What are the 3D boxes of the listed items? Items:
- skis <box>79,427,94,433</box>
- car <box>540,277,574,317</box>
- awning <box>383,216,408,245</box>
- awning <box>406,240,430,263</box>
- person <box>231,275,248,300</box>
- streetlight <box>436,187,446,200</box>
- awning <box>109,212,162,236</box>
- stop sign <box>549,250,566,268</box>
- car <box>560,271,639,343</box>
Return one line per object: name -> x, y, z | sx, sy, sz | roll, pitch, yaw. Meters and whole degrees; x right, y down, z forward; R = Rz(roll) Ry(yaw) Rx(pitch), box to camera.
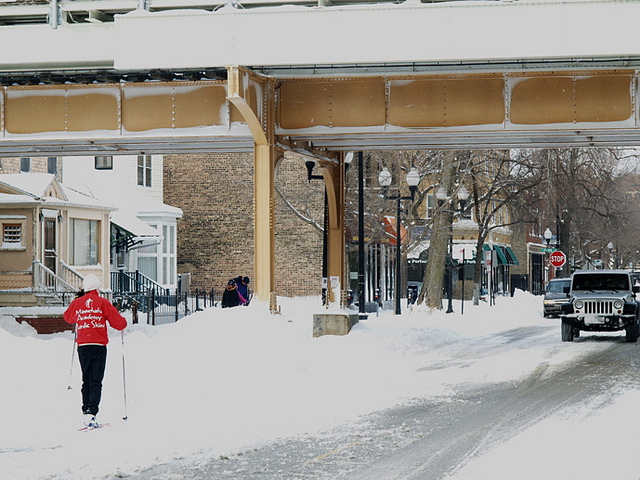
skis -> -4.743, 3.919, 28.383 | 0.326, 0.105, 0.061 | 6, -9, 40
car -> 8.465, 1.994, 47.618 | 1.137, 1.326, 2.665 | -1, 1, 14
awning -> 3.145, -0.490, 58.746 | 0.520, 1.444, 0.826 | -17, -15, 28
awning -> 5.210, 0.456, 71.977 | 1.347, 0.984, 1.327 | 0, -2, 9
person -> -2.253, 1.402, 39.407 | 0.517, 0.797, 0.292 | -7, 12, -37
streetlight -> 4.175, -1.556, 46.840 | 0.319, 0.486, 0.336 | -1, 5, 5
awning -> -6.829, -0.583, 51.363 | 1.735, 0.891, 2.962 | 2, 8, -6
stop sign -> 10.201, 0.786, 58.874 | 0.709, 0.737, 0.124 | 0, 7, -18
car -> 8.111, 1.663, 39.398 | 1.471, 1.383, 2.590 | -1, -8, 14
